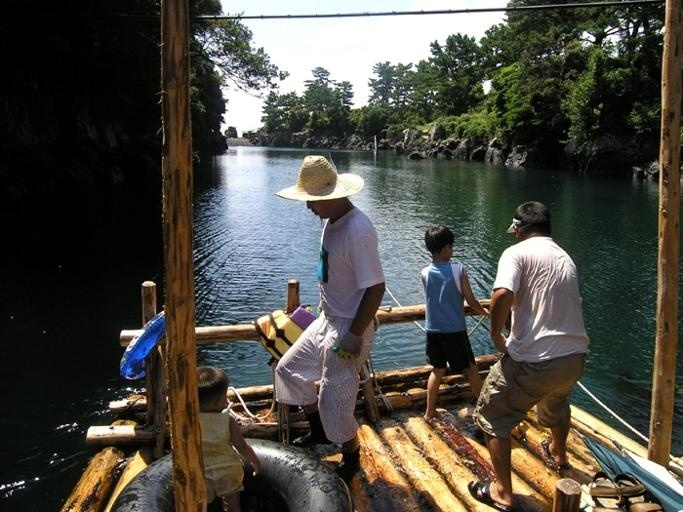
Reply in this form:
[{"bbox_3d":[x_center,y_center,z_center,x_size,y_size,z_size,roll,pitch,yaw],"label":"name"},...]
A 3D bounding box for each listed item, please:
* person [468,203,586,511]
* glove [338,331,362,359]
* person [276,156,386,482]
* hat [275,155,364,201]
[{"bbox_3d":[1.595,0.844,4.404,1.073,2.432,0.751,-13,19,-41],"label":"person"},{"bbox_3d":[0.071,0.745,4.325,0.209,0.231,0.170,14,-7,-15],"label":"glove"},{"bbox_3d":[-0.077,0.601,4.585,0.920,2.857,0.633,12,18,40],"label":"person"},{"bbox_3d":[-0.212,-0.696,4.643,0.794,0.341,0.786,-1,8,-8],"label":"hat"}]
